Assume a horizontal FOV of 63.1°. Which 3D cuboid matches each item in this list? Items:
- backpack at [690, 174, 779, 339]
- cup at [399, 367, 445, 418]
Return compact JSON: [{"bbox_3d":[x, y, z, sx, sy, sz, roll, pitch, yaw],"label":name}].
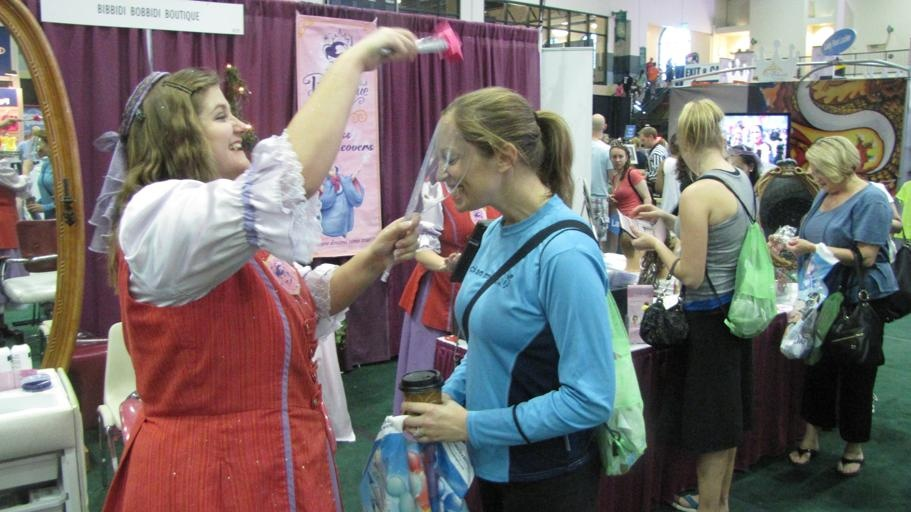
[{"bbox_3d":[1.829,0.021,4.664,0.467,1.064,0.277,-4,13,-14],"label":"backpack"},{"bbox_3d":[-0.162,0.660,3.626,0.177,0.131,0.169,-3,6,0],"label":"cup"}]
